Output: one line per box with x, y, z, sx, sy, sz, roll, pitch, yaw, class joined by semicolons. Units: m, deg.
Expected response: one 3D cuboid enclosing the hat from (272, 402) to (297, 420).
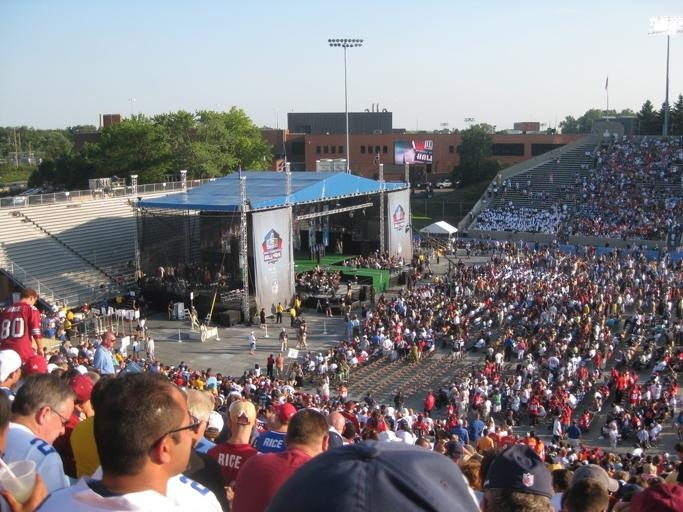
-2.287;6.320;51.653;0.524;0.429;0.789;3;18;-20;hat

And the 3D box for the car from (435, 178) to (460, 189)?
10.888;-7.364;132.959;1.943;0.888;1.006;-2;16;18;car
